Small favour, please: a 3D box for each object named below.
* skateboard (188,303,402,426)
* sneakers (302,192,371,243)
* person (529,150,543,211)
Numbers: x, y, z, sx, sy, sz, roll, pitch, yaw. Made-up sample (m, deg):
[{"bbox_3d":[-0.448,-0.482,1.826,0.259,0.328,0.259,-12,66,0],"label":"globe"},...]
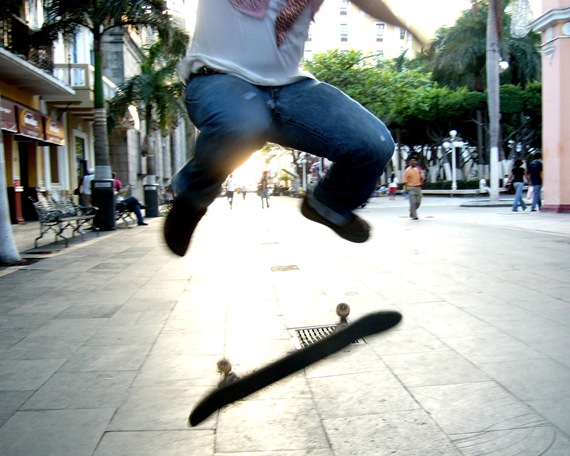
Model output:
[{"bbox_3d":[0.066,0.801,2.690,0.993,0.151,0.239,-18,32,-20],"label":"skateboard"},{"bbox_3d":[0.272,-0.058,2.634,0.558,0.160,0.189,19,-2,-3],"label":"sneakers"},{"bbox_3d":[7.796,-1.462,14.492,0.349,1.812,1.285,0,8,26],"label":"person"}]
